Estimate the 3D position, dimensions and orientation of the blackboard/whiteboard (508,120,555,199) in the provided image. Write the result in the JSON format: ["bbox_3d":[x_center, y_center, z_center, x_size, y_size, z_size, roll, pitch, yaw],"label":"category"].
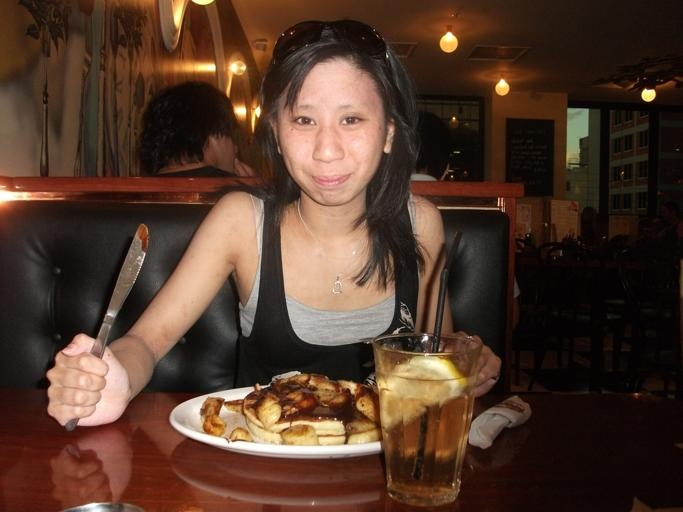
[{"bbox_3d":[3.127,-1.638,8.961,0.859,1.298,0.220,-4,10,-16],"label":"blackboard/whiteboard"}]

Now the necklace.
[{"bbox_3d":[-0.029,-0.039,1.751,0.171,0.310,0.067,-27,1,10],"label":"necklace"}]

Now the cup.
[{"bbox_3d":[0.103,0.260,0.960,0.235,0.315,0.230,0,8,0],"label":"cup"}]

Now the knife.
[{"bbox_3d":[-0.594,0.156,1.335,0.084,0.581,0.027,22,-3,1],"label":"knife"}]

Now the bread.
[{"bbox_3d":[-0.057,0.279,0.978,0.140,0.045,0.143,9,6,23],"label":"bread"}]
